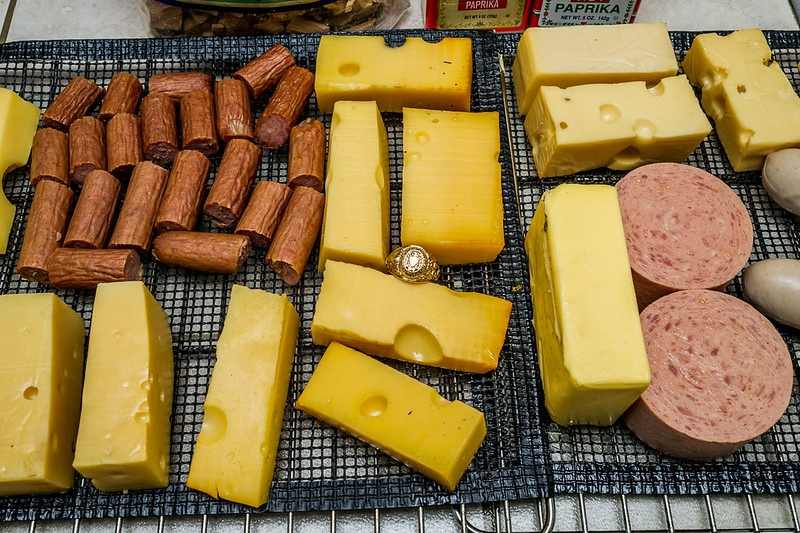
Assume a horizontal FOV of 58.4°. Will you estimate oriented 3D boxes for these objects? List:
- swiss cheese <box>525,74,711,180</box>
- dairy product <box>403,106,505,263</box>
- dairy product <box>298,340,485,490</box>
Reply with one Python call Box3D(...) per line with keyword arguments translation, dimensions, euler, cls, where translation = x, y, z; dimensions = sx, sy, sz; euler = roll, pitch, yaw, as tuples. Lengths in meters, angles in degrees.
Box3D(translation=(0.616, -0.394, 2.051), dimensions=(0.461, 0.155, 0.237), euler=(-8, 62, -7), cls="swiss cheese")
Box3D(translation=(0.144, -0.235, 2.002), dimensions=(0.290, 0.099, 0.432), euler=(4, 69, 0), cls="dairy product")
Box3D(translation=(-0.017, 0.372, 1.797), dimensions=(0.457, 0.092, 0.195), euler=(25, 67, 13), cls="dairy product")
